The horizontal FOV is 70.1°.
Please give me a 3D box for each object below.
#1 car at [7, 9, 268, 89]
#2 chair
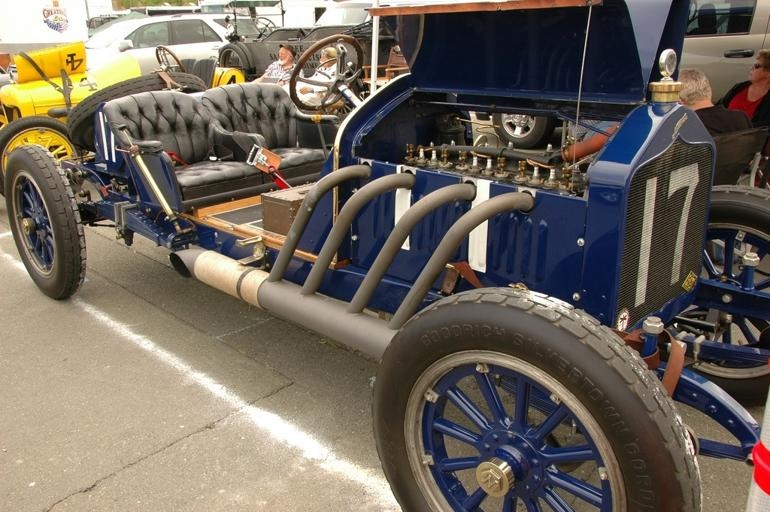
[{"bbox_3d":[-4.894,-4.977,13.312,2.332,1.884,5.088,11,16,42],"label":"car"},{"bbox_3d":[-1.486,-0.981,4.794,1.216,0.537,0.562,-21,35,-40],"label":"chair"}]
